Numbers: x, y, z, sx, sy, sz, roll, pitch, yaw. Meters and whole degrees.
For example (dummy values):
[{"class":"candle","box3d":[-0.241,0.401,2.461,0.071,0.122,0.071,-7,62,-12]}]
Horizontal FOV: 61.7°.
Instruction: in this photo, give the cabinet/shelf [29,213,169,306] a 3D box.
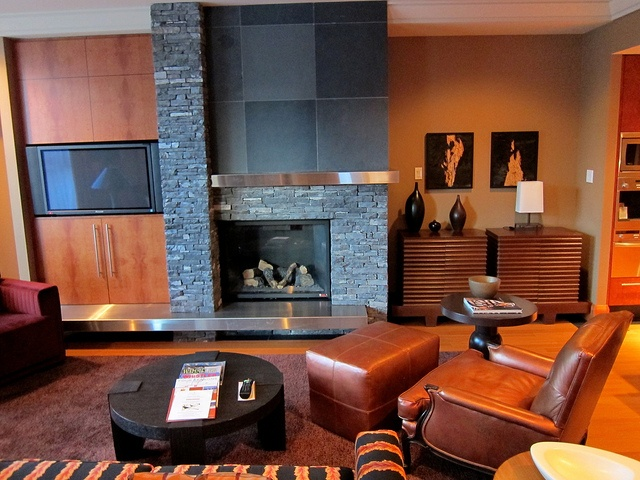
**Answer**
[{"class":"cabinet/shelf","box3d":[-2.140,0.156,5.246,0.942,0.642,0.334,-1,4,-1]}]

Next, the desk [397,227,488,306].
[{"class":"desk","box3d":[1.226,0.294,5.517,0.852,0.663,0.460,0,5,0]}]

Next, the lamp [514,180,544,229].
[{"class":"lamp","box3d":[2.135,-0.358,5.487,0.254,0.496,0.428,-1,10,19]}]

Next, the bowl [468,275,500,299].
[{"class":"bowl","box3d":[1.262,0.359,4.116,0.189,0.117,0.186,-5,1,0]}]

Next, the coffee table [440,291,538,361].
[{"class":"coffee table","box3d":[1.243,0.536,3.984,0.554,0.437,0.542,2,16,10]}]

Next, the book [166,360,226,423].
[{"class":"book","box3d":[-0.782,0.969,3.421,0.204,0.319,0.323,2,22,-6]}]

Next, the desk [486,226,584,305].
[{"class":"desk","box3d":[2.140,0.311,5.532,0.909,0.696,0.502,2,1,-11]}]

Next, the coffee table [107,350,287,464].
[{"class":"coffee table","box3d":[-0.757,1.056,3.387,0.792,0.320,0.771,-1,12,0]}]
